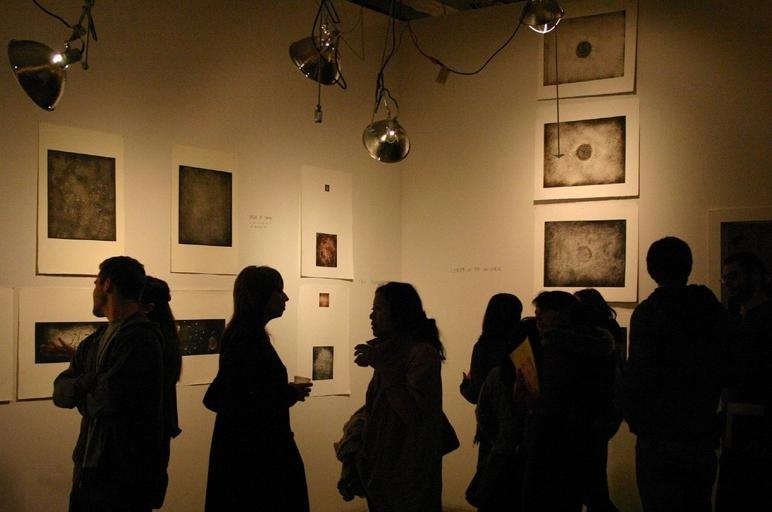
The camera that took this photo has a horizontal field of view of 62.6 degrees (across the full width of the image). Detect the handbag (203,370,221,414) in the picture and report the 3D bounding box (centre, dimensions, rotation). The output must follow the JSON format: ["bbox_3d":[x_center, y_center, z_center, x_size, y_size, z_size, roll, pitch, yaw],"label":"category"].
[{"bbox_3d":[-1.153,0.899,4.216,0.107,0.237,0.217,1,0,-16],"label":"handbag"}]
